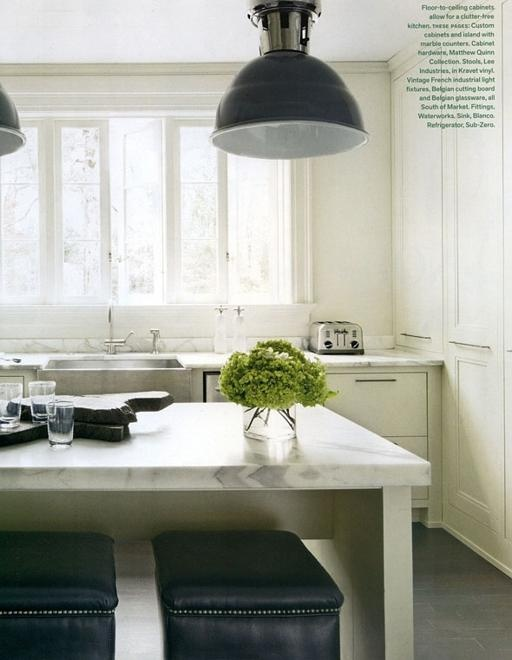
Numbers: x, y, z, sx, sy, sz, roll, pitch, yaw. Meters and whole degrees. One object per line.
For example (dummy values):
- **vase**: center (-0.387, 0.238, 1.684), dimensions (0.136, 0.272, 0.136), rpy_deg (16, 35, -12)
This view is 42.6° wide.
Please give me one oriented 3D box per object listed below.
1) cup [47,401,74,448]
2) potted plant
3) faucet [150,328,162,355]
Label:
- **cup**: center (-0.456, 0.213, 1.531), dimensions (0.053, 0.104, 0.133), rpy_deg (-1, 3, -19)
- **potted plant**: center (0.026, 0.151, 1.585), dimensions (0.268, 0.273, 0.254), rpy_deg (0, -2, -8)
- **faucet**: center (-0.602, 0.066, 3.943), dimensions (0.063, 0.143, 0.220), rpy_deg (0, 3, -9)
